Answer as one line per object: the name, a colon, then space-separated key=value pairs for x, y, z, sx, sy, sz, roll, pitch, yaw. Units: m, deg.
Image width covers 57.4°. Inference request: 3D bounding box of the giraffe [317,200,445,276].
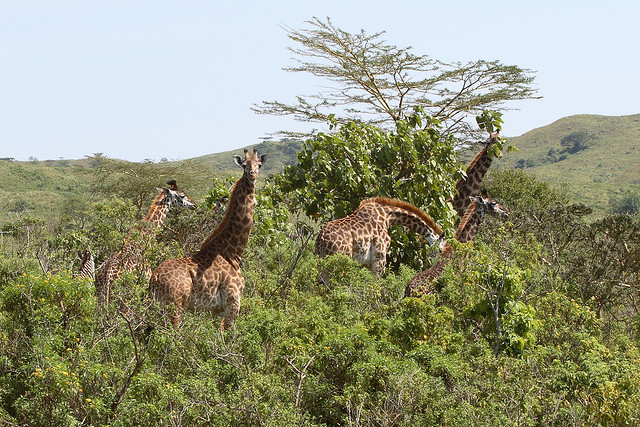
giraffe: x=1.405 y=1.001 z=13.976 sx=3.236 sy=2.673 sz=0.917 roll=5 pitch=2 yaw=-16
